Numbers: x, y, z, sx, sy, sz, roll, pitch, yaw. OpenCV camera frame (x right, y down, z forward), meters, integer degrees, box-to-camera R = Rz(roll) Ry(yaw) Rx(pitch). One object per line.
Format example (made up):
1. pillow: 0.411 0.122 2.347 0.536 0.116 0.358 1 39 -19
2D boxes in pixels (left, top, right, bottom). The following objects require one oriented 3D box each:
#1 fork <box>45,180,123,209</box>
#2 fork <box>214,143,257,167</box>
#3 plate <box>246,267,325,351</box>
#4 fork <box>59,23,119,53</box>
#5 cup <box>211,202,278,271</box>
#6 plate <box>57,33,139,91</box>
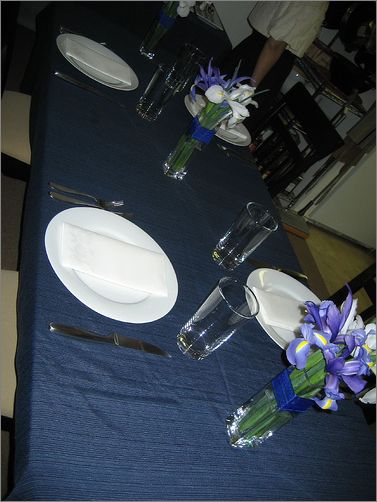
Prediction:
1. fork: -0.202 -0.108 0.807 0.157 0.011 0.040 10 51 -49
2. fork: 0.180 -0.314 1.442 0.230 0.030 0.054 13 40 -39
3. plate: 0.193 0.107 0.890 0.175 0.019 0.168 13 39 -31
4. fork: -0.333 -0.706 1.360 0.189 0.059 0.015 27 66 -10
5. cup: 0.130 -0.028 0.975 0.093 0.148 0.088 19 50 -25
6. plate: -0.280 -0.591 1.215 0.214 0.028 0.208 47 35 9
